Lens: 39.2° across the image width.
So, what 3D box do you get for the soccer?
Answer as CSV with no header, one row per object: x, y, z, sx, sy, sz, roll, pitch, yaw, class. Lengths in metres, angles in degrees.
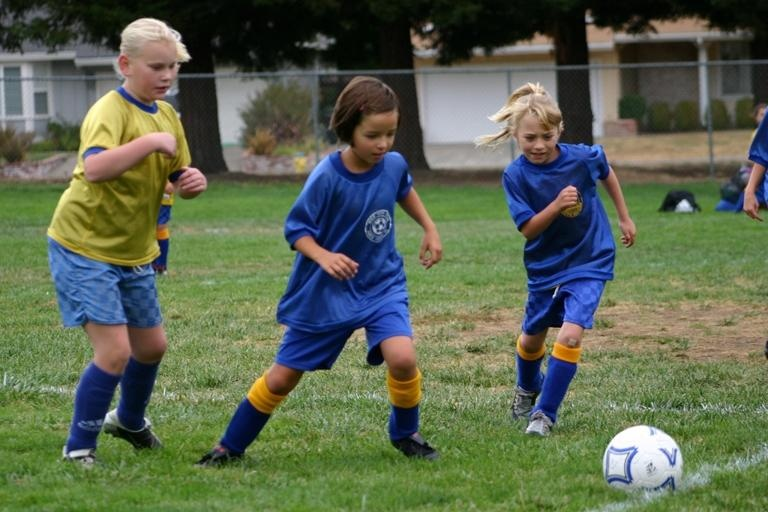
1.789,1.397,7.511,0.451,0.419,0.437,16,2,-38,soccer

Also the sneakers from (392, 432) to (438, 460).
0.217,1.361,7.771,0.376,0.127,0.133,5,9,19,sneakers

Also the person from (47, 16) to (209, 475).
-1.831,-0.118,7.623,1.030,3.141,0.481,-3,6,-17,person

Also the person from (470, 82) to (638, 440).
1.336,-0.026,8.224,0.999,2.631,0.806,-1,6,5,person
